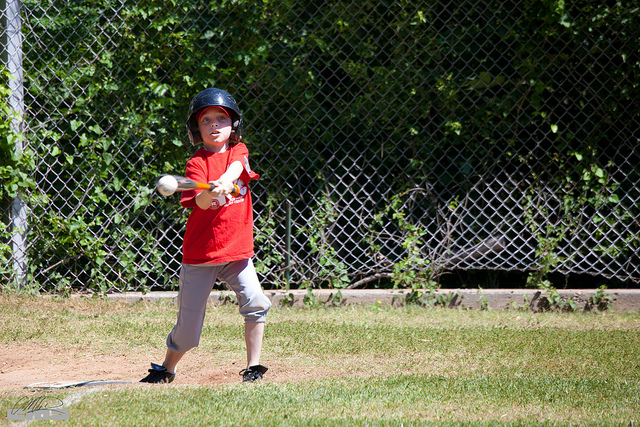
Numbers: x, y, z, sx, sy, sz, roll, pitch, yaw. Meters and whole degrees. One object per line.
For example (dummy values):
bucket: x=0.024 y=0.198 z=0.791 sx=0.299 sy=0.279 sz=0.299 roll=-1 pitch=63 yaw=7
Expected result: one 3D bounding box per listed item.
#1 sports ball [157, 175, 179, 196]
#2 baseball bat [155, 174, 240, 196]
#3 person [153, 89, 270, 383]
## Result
sports ball: x=-1.039 y=-0.186 z=5.529 sx=0.129 sy=0.124 sz=0.127 roll=6 pitch=-9 yaw=1
baseball bat: x=-0.860 y=-0.202 z=5.730 sx=0.591 sy=0.102 sz=0.093 roll=6 pitch=-29 yaw=-42
person: x=-0.757 y=0.169 z=6.038 sx=0.625 sy=2.167 sz=0.650 roll=-1 pitch=-5 yaw=44
